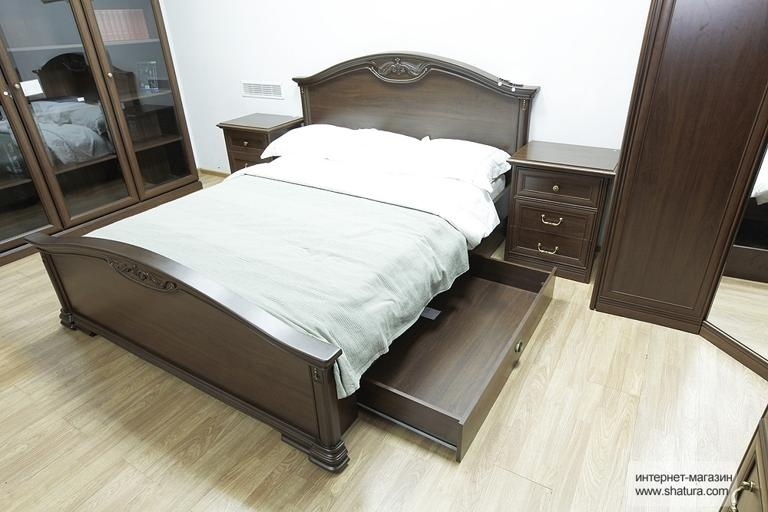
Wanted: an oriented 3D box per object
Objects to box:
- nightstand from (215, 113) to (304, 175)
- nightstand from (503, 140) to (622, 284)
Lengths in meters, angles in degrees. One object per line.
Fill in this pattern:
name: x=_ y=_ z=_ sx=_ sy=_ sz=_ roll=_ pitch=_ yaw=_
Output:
nightstand: x=-1.167 y=-0.926 z=4.474 sx=0.644 sy=0.731 sz=0.618 roll=0 pitch=28 yaw=-9
nightstand: x=1.308 y=-0.348 z=3.401 sx=0.679 sy=0.815 sz=0.760 roll=-28 pitch=38 yaw=-37
